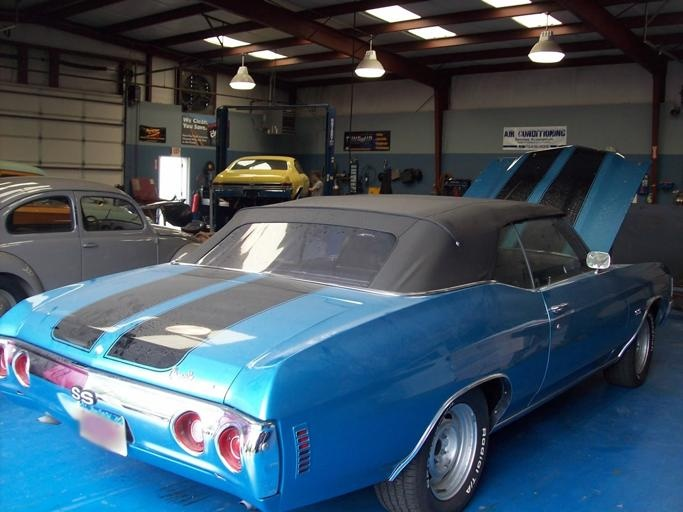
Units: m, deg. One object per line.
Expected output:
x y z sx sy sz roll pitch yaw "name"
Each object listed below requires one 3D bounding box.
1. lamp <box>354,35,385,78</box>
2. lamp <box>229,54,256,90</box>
0.719 -4.778 10.591 0.722 0.623 0.659 2 17 2 "lamp"
-2.776 -5.306 12.678 0.729 0.745 0.706 -3 13 -18 "lamp"
